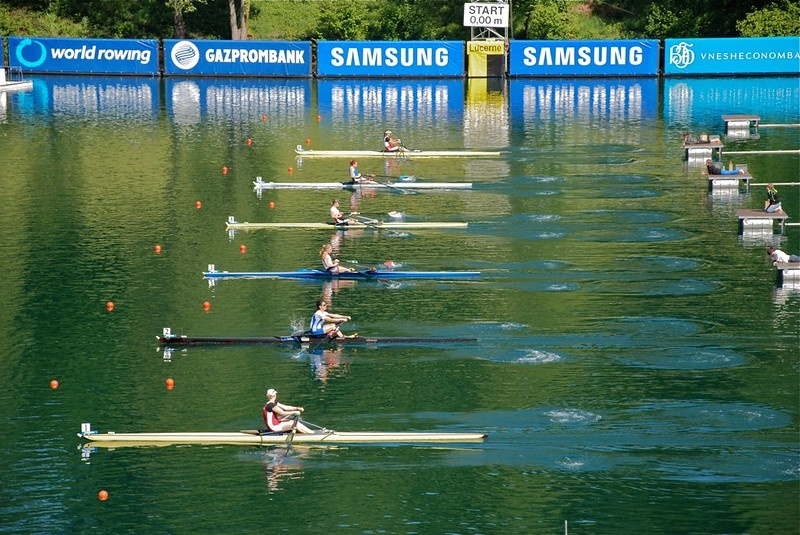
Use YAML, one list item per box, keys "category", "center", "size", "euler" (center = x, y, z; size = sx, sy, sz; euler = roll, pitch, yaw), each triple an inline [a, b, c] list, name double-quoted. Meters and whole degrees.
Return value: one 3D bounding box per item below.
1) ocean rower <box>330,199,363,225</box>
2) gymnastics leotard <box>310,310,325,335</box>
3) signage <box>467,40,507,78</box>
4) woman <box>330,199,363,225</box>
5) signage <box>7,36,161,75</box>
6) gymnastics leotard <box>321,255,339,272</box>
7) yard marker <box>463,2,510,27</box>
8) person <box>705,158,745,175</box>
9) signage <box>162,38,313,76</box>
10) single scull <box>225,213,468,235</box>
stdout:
- category: "ocean rower"
  center: [-2.846, -2.783, 86.206]
  size: [1.860, 1.032, 0.980]
  euler: [0, 18, -1]
- category: "gymnastics leotard"
  center: [-3.669, 2.380, 75.333]
  size: [0.727, 1.095, 0.334]
  euler: [-3, 11, -3]
- category: "signage"
  center: [6.362, -15.654, 126.952]
  size: [3.522, 2.486, 0.479]
  euler: [0, 17, -6]
- category: "woman"
  center: [-2.861, -2.826, 85.815]
  size: [1.258, 1.274, 1.236]
  euler: [-3, 10, -5]
- category: "signage"
  center: [-24.232, -16.131, 129.964]
  size: [11.014, 3.048, 1.726]
  euler: [-1, 10, 6]
- category: "gymnastics leotard"
  center: [-3.337, -0.245, 80.774]
  size: [0.730, 0.897, 0.551]
  euler: [-2, 10, -2]
- category: "yard marker"
  center: [6.330, -18.640, 125.628]
  size: [3.261, 1.823, 1.223]
  euler: [-1, 10, 2]
- category: "person"
  center: [17.382, -5.333, 91.348]
  size: [1.656, 0.465, 1.074]
  euler: [-1, 13, 1]
- category: "signage"
  center: [-12.316, -15.755, 128.540]
  size: [10.876, 3.048, 1.342]
  euler: [0, 11, 9]
- category: "single scull"
  center: [-2.813, -2.221, 86.487]
  size: [11.831, 0.718, 1.450]
  euler: [-2, 9, -2]
